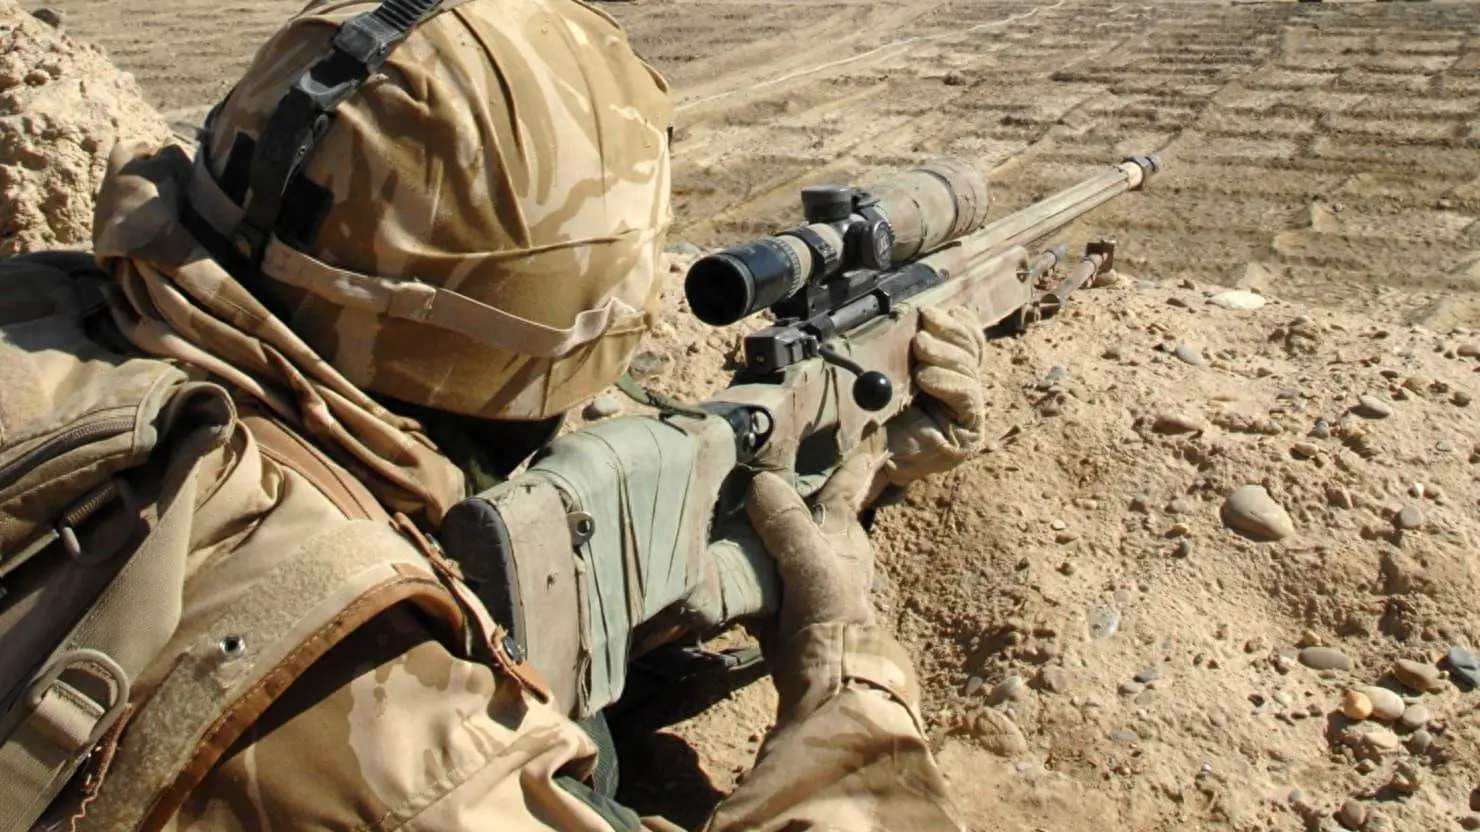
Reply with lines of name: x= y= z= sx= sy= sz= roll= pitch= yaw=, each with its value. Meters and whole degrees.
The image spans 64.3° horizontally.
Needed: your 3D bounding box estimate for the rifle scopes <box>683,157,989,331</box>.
rifle scopes: x=0.545 y=-0.807 z=5.543 sx=0.407 sy=0.602 sz=1.967 roll=15 pitch=28 yaw=37
